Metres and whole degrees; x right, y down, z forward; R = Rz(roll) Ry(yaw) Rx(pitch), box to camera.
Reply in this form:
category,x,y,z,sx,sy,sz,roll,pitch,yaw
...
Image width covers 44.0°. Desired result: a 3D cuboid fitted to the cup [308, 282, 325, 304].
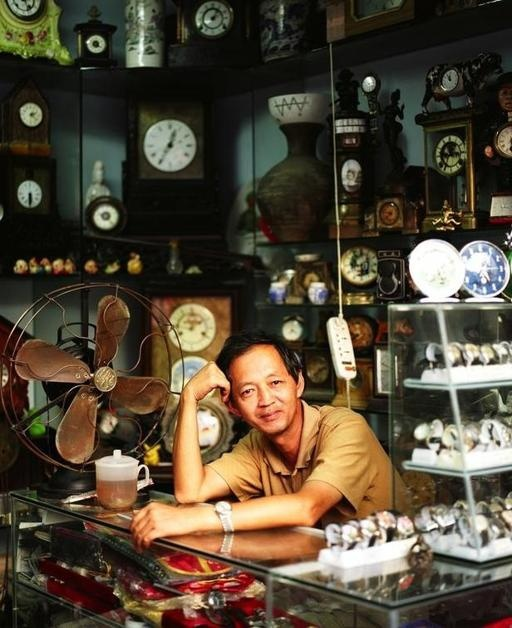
category,x,y,z,sx,sy,sz,roll,pitch,yaw
cup,0.323,-0.108,3.288,0.114,0.118,0.106,0,-11,0

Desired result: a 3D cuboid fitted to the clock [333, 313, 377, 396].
category,x,y,z,sx,sy,sz,roll,pitch,yaw
clock,0.536,0.205,3.189,0.249,0.386,0.244,1,11,38

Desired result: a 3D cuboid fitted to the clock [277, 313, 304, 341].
category,x,y,z,sx,sy,sz,roll,pitch,yaw
clock,0.194,0.068,3.417,0.159,0.167,0.067,-2,-8,22

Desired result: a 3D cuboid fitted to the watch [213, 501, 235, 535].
category,x,y,z,sx,sy,sz,roll,pitch,yaw
watch,-0.064,0.419,1.304,0.037,0.055,0.055,-5,37,-11

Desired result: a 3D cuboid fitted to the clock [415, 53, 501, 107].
category,x,y,z,sx,sy,sz,roll,pitch,yaw
clock,0.863,-0.966,2.647,0.118,0.184,0.325,-5,9,-44

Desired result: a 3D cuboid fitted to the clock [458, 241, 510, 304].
category,x,y,z,sx,sy,sz,roll,pitch,yaw
clock,0.581,-0.114,1.610,0.140,0.154,0.066,-6,-1,-44

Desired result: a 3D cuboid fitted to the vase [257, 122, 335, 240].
category,x,y,z,sx,sy,sz,roll,pitch,yaw
vase,0.249,-0.712,3.482,0.504,0.617,0.474,-1,11,-23

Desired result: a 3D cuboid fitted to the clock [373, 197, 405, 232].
category,x,y,z,sx,sy,sz,roll,pitch,yaw
clock,0.625,-0.464,2.933,0.193,0.192,0.071,-2,-2,34

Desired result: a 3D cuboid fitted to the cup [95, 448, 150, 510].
category,x,y,z,sx,sy,sz,roll,pitch,yaw
cup,-0.335,0.410,1.581,0.146,0.127,0.103,3,-4,-18

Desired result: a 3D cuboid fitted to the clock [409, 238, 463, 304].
category,x,y,z,sx,sy,sz,roll,pitch,yaw
clock,0.432,-0.105,1.523,0.117,0.156,0.185,-7,-1,24

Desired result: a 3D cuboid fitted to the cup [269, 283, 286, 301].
category,x,y,z,sx,sy,sz,roll,pitch,yaw
cup,0.118,-0.121,3.442,0.103,0.111,0.096,0,-7,0

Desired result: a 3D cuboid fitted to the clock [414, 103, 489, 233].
category,x,y,z,sx,sy,sz,roll,pitch,yaw
clock,0.825,-0.610,2.707,0.275,0.544,0.224,-8,0,13

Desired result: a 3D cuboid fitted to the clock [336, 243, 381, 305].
category,x,y,z,sx,sy,sz,roll,pitch,yaw
clock,0.516,-0.234,3.198,0.229,0.213,0.047,-37,12,-31

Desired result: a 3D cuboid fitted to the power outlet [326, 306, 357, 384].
category,x,y,z,sx,sy,sz,roll,pitch,yaw
power outlet,0.324,0.128,2.671,0.132,0.271,0.070,-6,-13,-28

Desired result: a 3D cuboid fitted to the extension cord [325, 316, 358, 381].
category,x,y,z,sx,sy,sz,roll,pitch,yaw
extension cord,0.348,0.146,2.672,0.126,0.260,0.091,-4,-15,-28

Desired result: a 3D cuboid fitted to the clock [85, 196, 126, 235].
category,x,y,z,sx,sy,sz,roll,pitch,yaw
clock,-0.821,-0.532,3.446,0.213,0.203,0.061,-7,0,17
